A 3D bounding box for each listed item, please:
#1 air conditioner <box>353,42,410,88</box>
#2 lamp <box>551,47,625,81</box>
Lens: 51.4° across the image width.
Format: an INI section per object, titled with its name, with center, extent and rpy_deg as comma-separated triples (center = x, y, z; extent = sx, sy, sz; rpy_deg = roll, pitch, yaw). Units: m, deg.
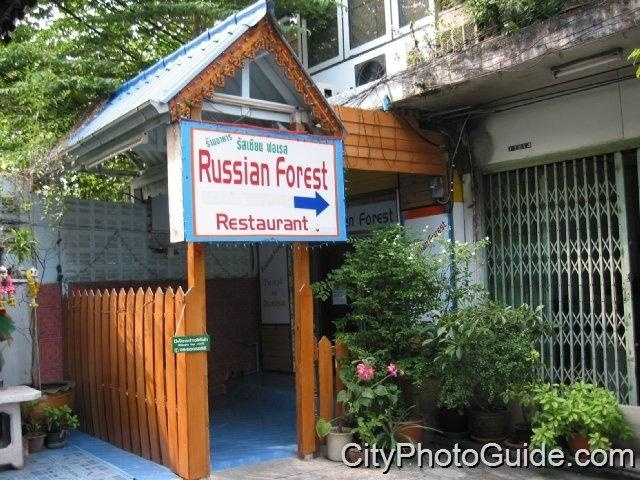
[air conditioner]
center = 1.150, -3.136, 12.523
extent = 1.428, 0.586, 0.429
rpy_deg = -16, 11, -24
[lamp]
center = 3.475, -2.377, 8.773
extent = 0.953, 0.201, 0.203
rpy_deg = -11, 5, 33
